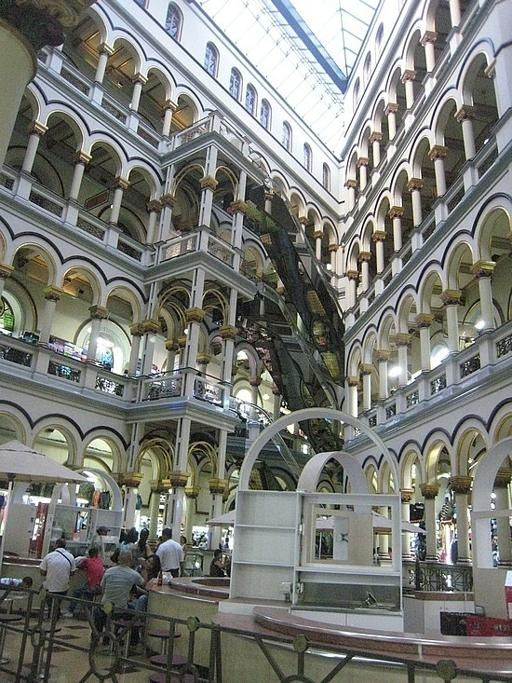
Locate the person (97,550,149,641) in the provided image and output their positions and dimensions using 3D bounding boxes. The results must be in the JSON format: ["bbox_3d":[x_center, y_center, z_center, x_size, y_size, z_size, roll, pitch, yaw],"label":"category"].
[{"bbox_3d":[-1.680,3.216,6.112,0.515,1.050,0.557,7,-11,-2],"label":"person"}]

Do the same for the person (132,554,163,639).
[{"bbox_3d":[-1.877,4.041,7.867,0.386,1.164,0.672,13,-10,6],"label":"person"}]

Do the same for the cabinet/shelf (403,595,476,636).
[{"bbox_3d":[2.823,4.243,7.615,1.032,0.628,0.962,-3,-22,17],"label":"cabinet/shelf"}]

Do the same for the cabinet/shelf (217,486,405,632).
[{"bbox_3d":[0.638,2.343,5.456,1.880,1.285,1.050,-2,-22,15],"label":"cabinet/shelf"}]
